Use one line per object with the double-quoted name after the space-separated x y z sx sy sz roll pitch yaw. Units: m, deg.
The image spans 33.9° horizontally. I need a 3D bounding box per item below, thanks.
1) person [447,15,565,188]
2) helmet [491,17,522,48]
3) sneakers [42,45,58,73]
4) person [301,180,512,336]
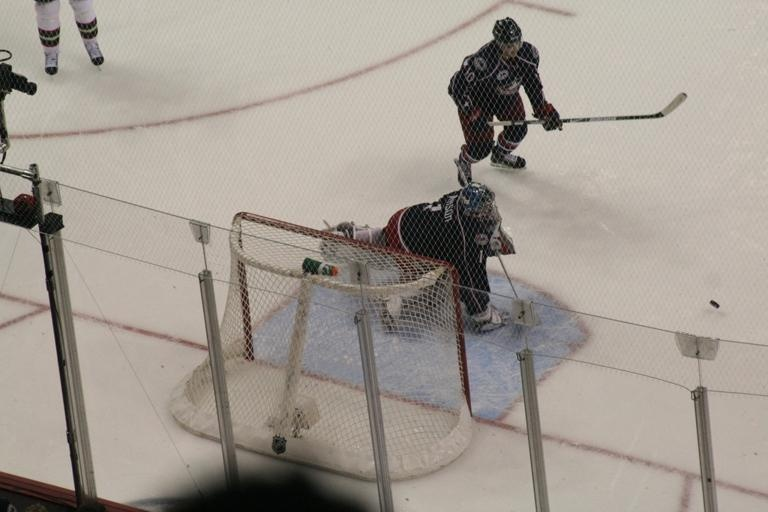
0.913 -1.159 9.664 0.710 1.334 0.593 -1 17 -36 "person"
0.921 -1.647 9.235 0.209 0.195 0.174 10 14 4 "helmet"
-2.906 -1.712 11.005 0.094 0.274 0.196 -2 10 -2 "sneakers"
0.140 -0.063 8.723 1.400 0.861 0.786 3 49 19 "person"
